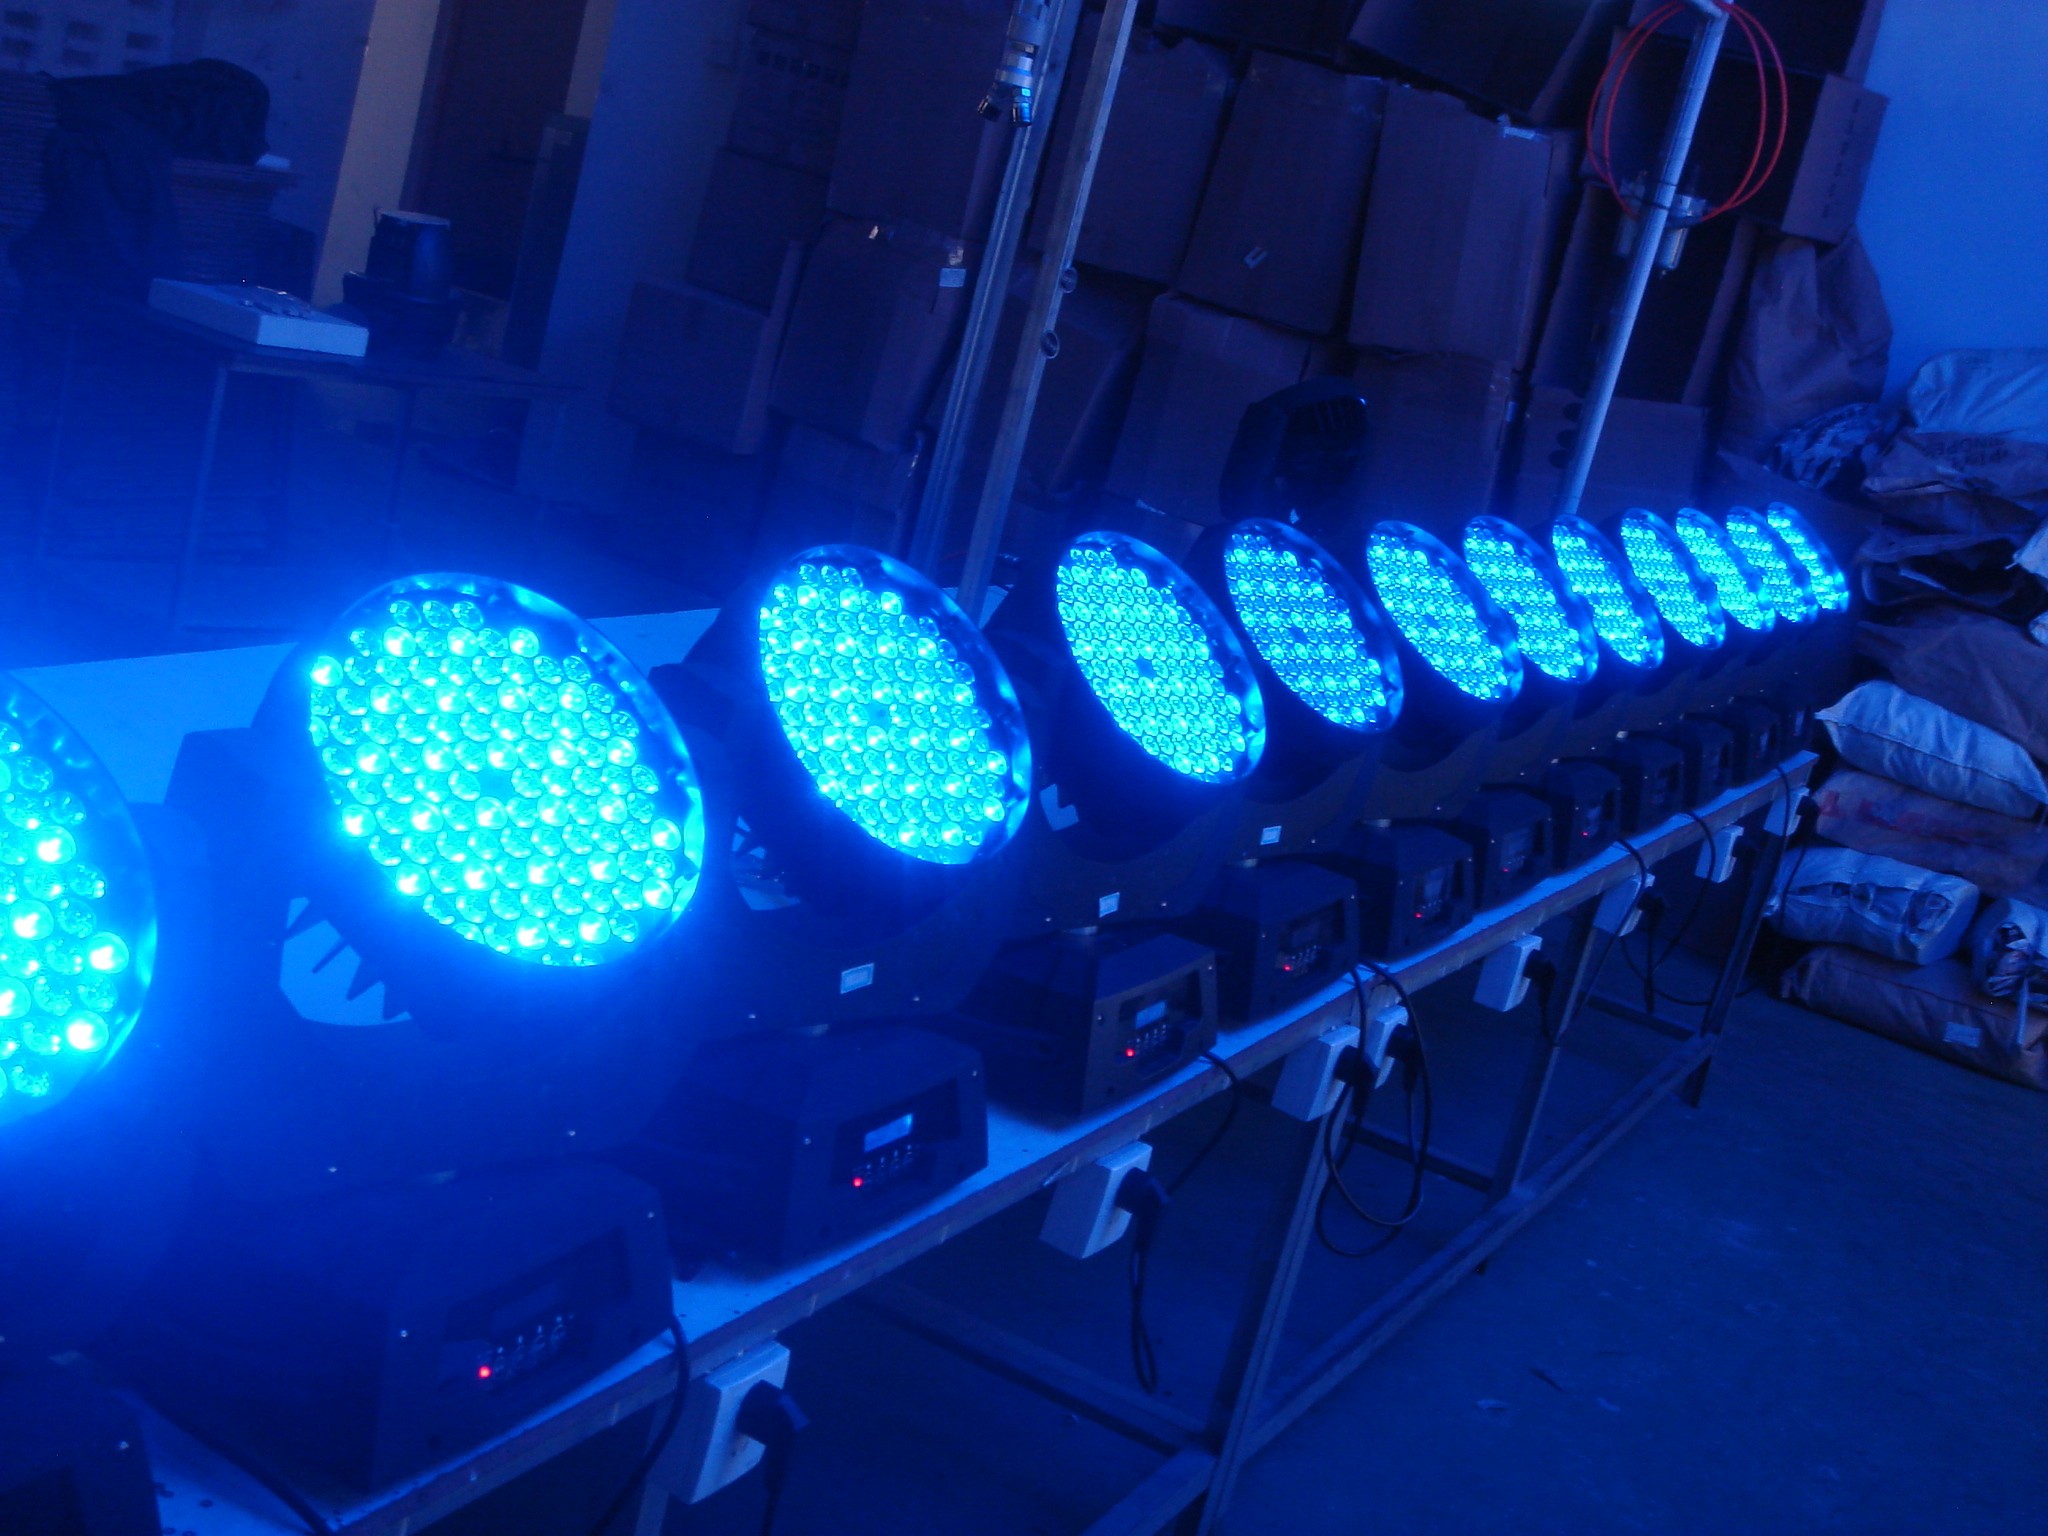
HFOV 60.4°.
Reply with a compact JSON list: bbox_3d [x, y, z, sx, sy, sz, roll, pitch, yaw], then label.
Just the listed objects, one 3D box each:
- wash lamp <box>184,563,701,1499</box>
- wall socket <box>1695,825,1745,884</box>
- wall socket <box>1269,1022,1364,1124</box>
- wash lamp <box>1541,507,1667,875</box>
[{"bbox_3d":[-0.453,0.190,1.397,0.420,0.561,0.429,-1,25,-33],"label":"wash lamp"},{"bbox_3d":[1.397,0.171,3.530,0.044,0.142,0.124,14,64,19],"label":"wall socket"},{"bbox_3d":[0.355,0.366,2.134,0.068,0.128,0.121,27,56,23],"label":"wall socket"},{"bbox_3d":[0.992,-0.224,3.054,0.147,0.471,0.410,-3,57,16],"label":"wash lamp"}]
